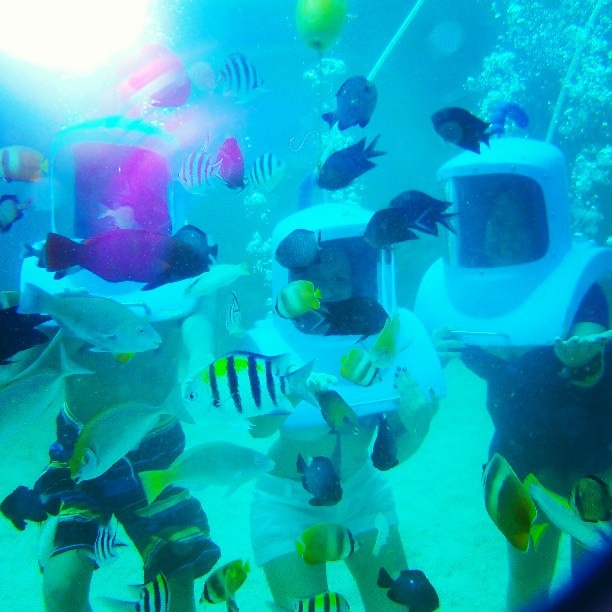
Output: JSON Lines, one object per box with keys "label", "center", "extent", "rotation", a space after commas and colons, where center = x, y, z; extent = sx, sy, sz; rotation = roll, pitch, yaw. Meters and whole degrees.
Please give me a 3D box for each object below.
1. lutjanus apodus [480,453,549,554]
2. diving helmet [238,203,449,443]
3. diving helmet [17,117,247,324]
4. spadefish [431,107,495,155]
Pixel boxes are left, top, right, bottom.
{"label": "lutjanus apodus", "center": [1.031, 1.003, 3.708], "extent": [0.208, 0.486, 0.288], "rotation": [-7, -38, -5]}
{"label": "diving helmet", "center": [0.170, -0.051, 4.846], "extent": [1.015, 1.073, 1.323], "rotation": [-2, -84, 1]}
{"label": "diving helmet", "center": [-1.038, -0.528, 4.080], "extent": [0.816, 0.628, 1.503], "rotation": [1, -99, -2]}
{"label": "spadefish", "center": [0.866, -1.003, 4.082], "extent": [0.288, 0.231, 0.180], "rotation": [28, -89, -14]}
